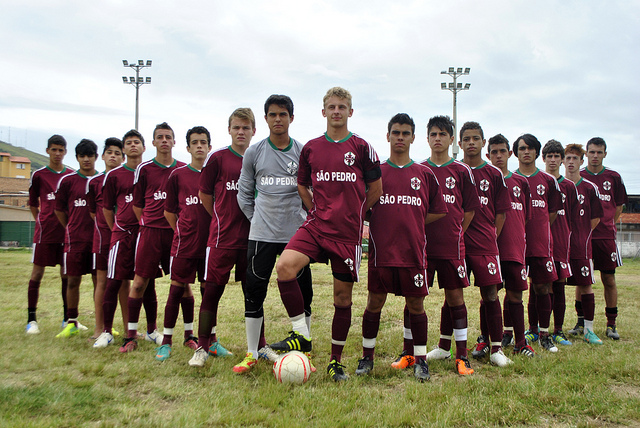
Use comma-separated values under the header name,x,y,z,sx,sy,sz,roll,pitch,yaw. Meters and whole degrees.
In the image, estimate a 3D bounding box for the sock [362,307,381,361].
name,x,y,z,sx,sy,sz,roll,pitch,yaw
sock,0.814,1.946,9.749,0.254,0.842,0.251,1,8,3

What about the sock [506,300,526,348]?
name,x,y,z,sx,sy,sz,roll,pitch,yaw
sock,3.506,1.947,10.742,0.424,0.841,0.314,7,10,37

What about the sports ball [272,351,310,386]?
name,x,y,z,sx,sy,sz,roll,pitch,yaw
sports ball,-0.440,2.359,9.146,0.547,0.431,0.353,0,8,-6

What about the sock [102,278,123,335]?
name,x,y,z,sx,sy,sz,roll,pitch,yaw
sock,-3.820,1.656,10.952,0.269,1.054,0.338,12,-20,-32

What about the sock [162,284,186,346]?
name,x,y,z,sx,sy,sz,roll,pitch,yaw
sock,-2.545,1.766,10.303,0.318,1.139,0.566,2,8,13

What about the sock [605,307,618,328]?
name,x,y,z,sx,sy,sz,roll,pitch,yaw
sock,5.737,2.032,11.850,0.181,0.357,0.292,4,8,21

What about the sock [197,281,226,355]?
name,x,y,z,sx,sy,sz,roll,pitch,yaw
sock,-1.878,1.744,9.923,0.333,1.222,0.573,4,8,22

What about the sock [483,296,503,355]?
name,x,y,z,sx,sy,sz,roll,pitch,yaw
sock,3.007,2.010,10.398,0.292,1.245,0.531,-2,6,24

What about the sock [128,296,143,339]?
name,x,y,z,sx,sy,sz,roll,pitch,yaw
sock,-3.310,1.838,10.616,0.235,0.764,0.333,3,8,14

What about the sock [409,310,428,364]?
name,x,y,z,sx,sy,sz,roll,pitch,yaw
sock,1.557,1.993,9.647,0.282,0.815,0.250,2,8,7

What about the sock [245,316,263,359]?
name,x,y,z,sx,sy,sz,roll,pitch,yaw
sock,-1.090,2.035,9.890,0.192,0.744,0.308,5,9,29

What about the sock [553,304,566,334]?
name,x,y,z,sx,sy,sz,roll,pitch,yaw
sock,4.569,2.023,11.545,0.197,0.529,0.224,3,8,18

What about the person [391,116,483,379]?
name,x,y,z,sx,sy,sz,roll,pitch,yaw
person,2.155,0.463,10.090,0.950,4.179,1.093,2,8,9

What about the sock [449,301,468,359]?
name,x,y,z,sx,sy,sz,roll,pitch,yaw
sock,2.324,1.984,10.157,0.262,0.977,0.391,-11,9,-44
